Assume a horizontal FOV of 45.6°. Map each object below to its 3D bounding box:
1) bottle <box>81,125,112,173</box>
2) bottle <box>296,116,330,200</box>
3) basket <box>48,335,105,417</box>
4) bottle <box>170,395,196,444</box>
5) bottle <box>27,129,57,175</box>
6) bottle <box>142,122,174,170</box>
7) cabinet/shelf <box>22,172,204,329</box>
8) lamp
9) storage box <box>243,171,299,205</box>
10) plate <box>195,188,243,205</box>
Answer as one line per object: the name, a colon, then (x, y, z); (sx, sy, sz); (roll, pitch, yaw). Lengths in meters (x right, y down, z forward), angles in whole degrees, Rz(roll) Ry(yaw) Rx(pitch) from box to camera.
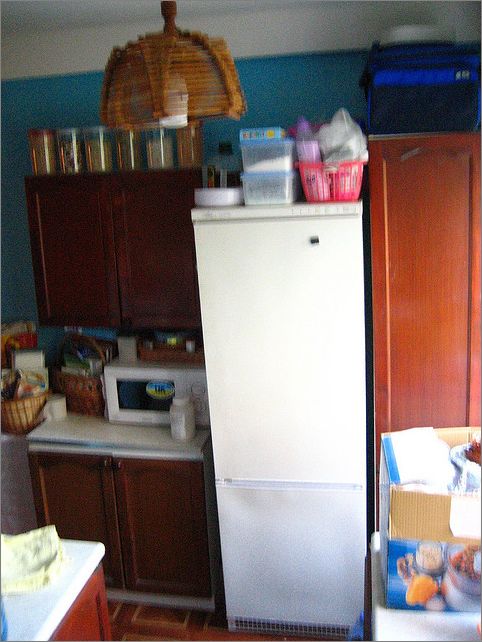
bottle: (-0.567, -0.680, 2.266); (0.105, 0.170, 0.073); (-9, 9, -17)
bottle: (0.221, -0.492, 1.833); (0.112, 0.105, 0.215); (0, 26, 7)
basket: (-0.736, 0.232, 2.664); (0.213, 0.401, 0.356); (-2, 17, -22)
bottle: (-0.234, 0.401, 2.273); (0.107, 0.209, 0.106); (-1, 12, 0)
bottle: (-0.804, -0.672, 2.296); (0.119, 0.193, 0.065); (-4, 8, 12)
bottle: (-0.319, -0.664, 2.212); (0.097, 0.145, 0.073); (-7, 9, -5)
cabinet/shelf: (-0.479, -0.291, 2.255); (0.435, 0.504, 0.182); (1, 10, 7)
lamp: (-0.141, -0.415, 1.092); (0.210, 0.284, 0.248); (-3, 13, -8)
storage box: (0.096, -0.430, 1.858); (0.188, 0.122, 0.111); (-9, 9, -9)
plate: (-0.073, -0.411, 1.913); (0.162, 0.073, 0.083); (-9, 10, -5)
